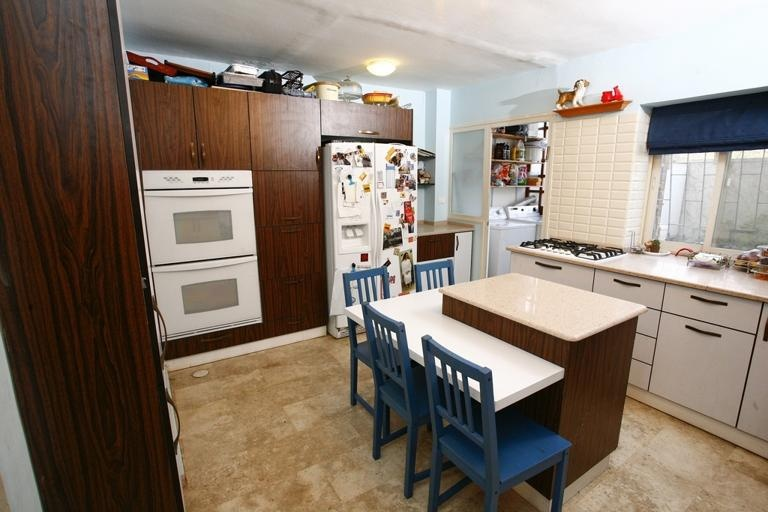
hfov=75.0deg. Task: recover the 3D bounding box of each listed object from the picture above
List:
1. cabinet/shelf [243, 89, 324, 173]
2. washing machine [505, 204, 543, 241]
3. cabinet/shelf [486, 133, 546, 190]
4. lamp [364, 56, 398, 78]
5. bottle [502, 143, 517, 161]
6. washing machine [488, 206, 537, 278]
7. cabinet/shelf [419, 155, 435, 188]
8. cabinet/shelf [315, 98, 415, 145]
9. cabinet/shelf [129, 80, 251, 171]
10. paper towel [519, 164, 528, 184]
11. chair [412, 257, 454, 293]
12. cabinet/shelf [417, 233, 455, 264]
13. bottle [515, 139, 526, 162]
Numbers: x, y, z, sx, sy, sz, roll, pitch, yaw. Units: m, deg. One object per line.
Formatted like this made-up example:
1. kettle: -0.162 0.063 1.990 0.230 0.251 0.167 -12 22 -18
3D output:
1. cabinet/shelf: -1.043 -1.182 4.962 0.287 0.759 0.809 1 21 -44
2. washing machine: 1.716 -0.391 6.183 0.377 0.557 0.391 -7 18 -21
3. cabinet/shelf: 1.638 -1.206 6.321 0.926 0.555 0.270 -5 10 -32
4. lamp: -0.011 -1.865 4.953 0.334 0.121 0.304 -2 12 -6
5. bottle: 1.594 -1.306 6.294 0.163 0.202 0.357 3 13 17
6. washing machine: 1.430 -0.138 5.670 0.414 0.745 0.747 9 15 40
7. cabinet/shelf: 0.541 -1.076 6.335 0.175 0.297 0.316 -6 15 -25
8. cabinet/shelf: -0.177 -1.374 5.220 0.932 0.385 0.306 3 9 -7
9. cabinet/shelf: -1.668 -1.105 4.228 1.080 0.883 0.411 -5 18 -23
10. paper towel: 1.818 -1.074 6.566 0.226 0.291 0.033 -16 22 -39
11. chair: 0.439 0.180 4.467 0.260 0.446 0.262 -9 18 -26
12. cabinet/shelf: 0.588 -0.118 5.902 0.549 0.332 0.310 -8 19 -28
13. bottle: 1.728 -1.333 6.352 0.130 0.250 0.321 3 13 16
